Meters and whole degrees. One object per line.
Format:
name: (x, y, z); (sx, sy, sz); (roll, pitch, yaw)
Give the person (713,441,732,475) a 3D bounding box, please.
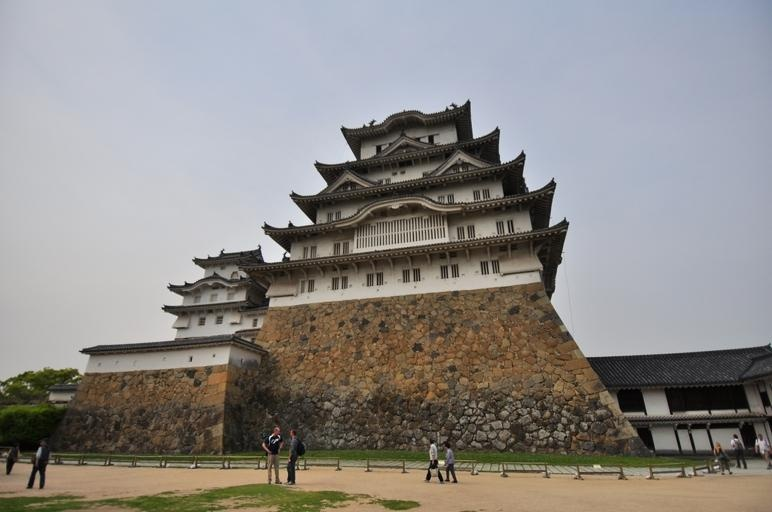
person: (15.767, 9.510, 22.695); (0.441, 1.357, 1.000); (-17, -33, 28)
